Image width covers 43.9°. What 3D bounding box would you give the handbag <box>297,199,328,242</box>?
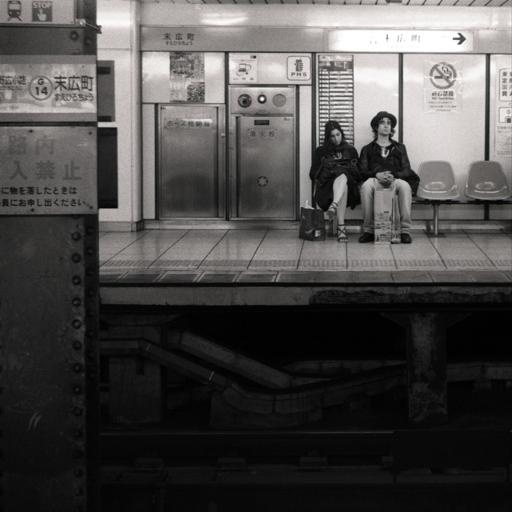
[{"bbox_3d":[0.713,-0.426,7.879,0.445,0.642,0.240,9,18,40],"label":"handbag"}]

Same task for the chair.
[{"bbox_3d":[2.864,-0.792,8.770,0.946,0.705,0.447,-1,7,0],"label":"chair"}]

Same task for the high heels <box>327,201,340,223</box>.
[{"bbox_3d":[0.945,-0.567,7.841,0.098,0.303,0.076,0,-26,8],"label":"high heels"}]

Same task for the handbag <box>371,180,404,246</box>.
[{"bbox_3d":[1.561,-0.498,7.536,0.318,0.632,0.553,1,8,12],"label":"handbag"}]

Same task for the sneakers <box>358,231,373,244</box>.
[{"bbox_3d":[1.319,-0.225,7.579,0.170,0.115,0.281,2,9,11],"label":"sneakers"}]
